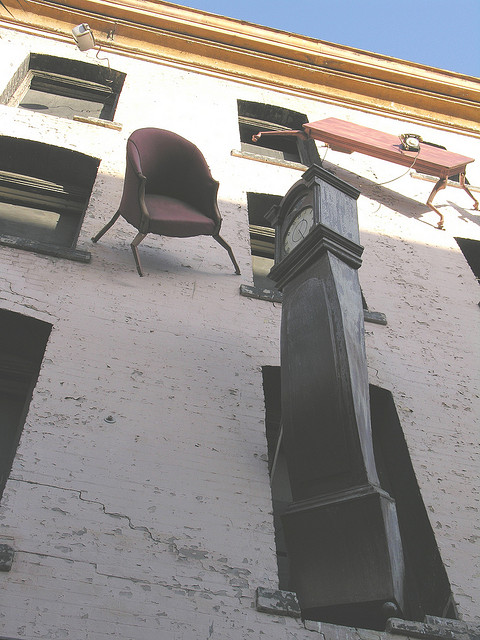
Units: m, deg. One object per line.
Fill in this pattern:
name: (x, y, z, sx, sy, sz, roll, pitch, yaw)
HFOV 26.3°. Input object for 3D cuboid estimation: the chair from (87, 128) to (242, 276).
chair: (-0.500, -0.990, 7.755, 0.836, 1.144, 0.607, 10, -43, -7)

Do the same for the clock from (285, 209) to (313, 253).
clock: (0.396, -0.577, 6.770, 0.028, 0.319, 0.342, 22, -13, -20)
